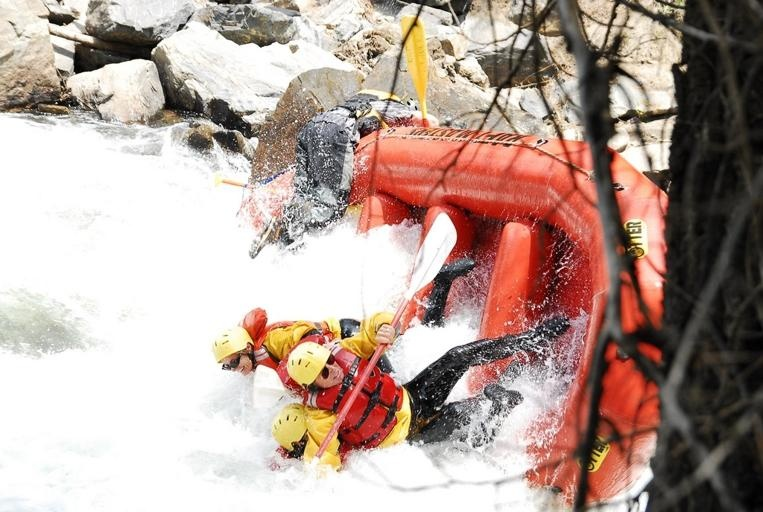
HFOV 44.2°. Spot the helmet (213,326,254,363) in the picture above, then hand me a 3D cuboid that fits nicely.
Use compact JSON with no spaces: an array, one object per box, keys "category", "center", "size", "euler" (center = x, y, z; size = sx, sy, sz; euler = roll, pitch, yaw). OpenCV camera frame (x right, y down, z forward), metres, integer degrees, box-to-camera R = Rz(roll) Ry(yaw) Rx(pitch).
[{"category":"helmet","center":[-1.430,0.815,9.087],"size":[0.356,0.282,0.281],"euler":[-14,74,-54]}]

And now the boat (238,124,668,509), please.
[{"category":"boat","center":[1.084,-0.200,9.249],"size":[1.242,2.230,3.880],"euler":[-17,24,-36]}]

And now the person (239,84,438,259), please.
[{"category":"person","center":[-0.508,-1.082,10.806],"size":[0.880,2.114,1.338],"euler":[44,-9,-28]}]

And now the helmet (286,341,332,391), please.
[{"category":"helmet","center":[-0.666,1.024,8.711],"size":[0.241,0.405,0.336],"euler":[48,39,-33]}]
